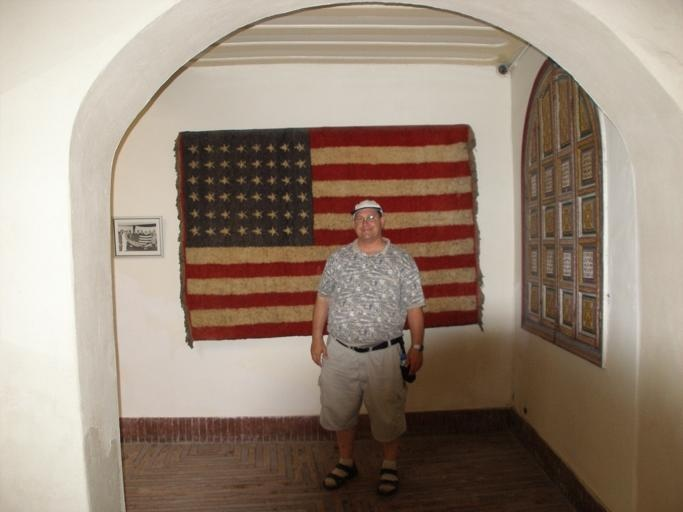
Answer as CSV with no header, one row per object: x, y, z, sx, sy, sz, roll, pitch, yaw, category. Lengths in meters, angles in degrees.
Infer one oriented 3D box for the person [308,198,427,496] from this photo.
0.179,0.618,3.861,0.785,1.993,0.354,0,11,3,person

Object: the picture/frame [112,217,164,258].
-1.674,-0.178,4.488,0.267,0.285,0.032,0,6,2,picture/frame

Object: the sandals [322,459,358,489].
-0.020,1.574,3.960,0.103,0.133,0.297,-9,-17,32,sandals

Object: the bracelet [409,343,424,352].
0.530,0.620,3.802,0.066,0.048,0.069,3,-7,-7,bracelet

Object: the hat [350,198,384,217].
0.189,-0.347,3.822,0.172,0.101,0.235,5,15,25,hat

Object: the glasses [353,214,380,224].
0.174,-0.263,3.760,0.175,0.062,0.094,0,14,5,glasses
